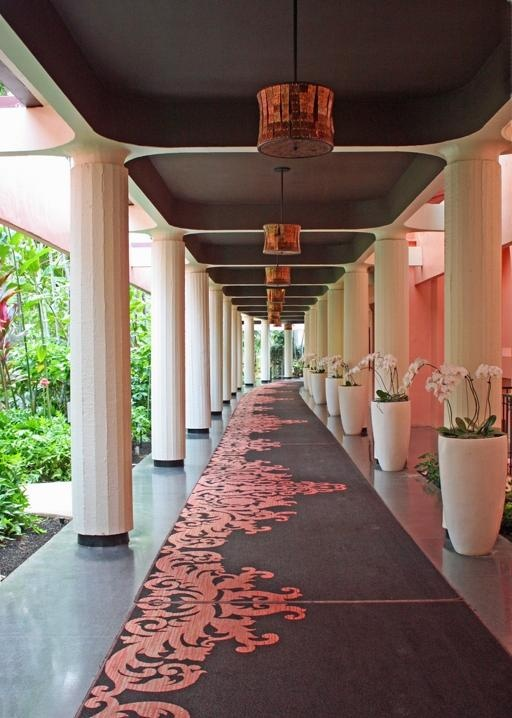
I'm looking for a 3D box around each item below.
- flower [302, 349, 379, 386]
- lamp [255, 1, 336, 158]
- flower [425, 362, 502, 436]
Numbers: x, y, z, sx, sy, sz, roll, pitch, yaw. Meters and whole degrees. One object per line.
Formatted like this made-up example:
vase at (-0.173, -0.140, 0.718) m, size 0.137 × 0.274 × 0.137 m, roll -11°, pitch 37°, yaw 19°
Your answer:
flower at (1.844, 0.156, 11.649) m, size 0.685 × 0.797 × 2.553 m, roll -4°, pitch 2°, yaw -6°
lamp at (0.190, -1.382, 2.603) m, size 0.364 × 0.746 × 0.436 m, roll -2°, pitch -3°, yaw 2°
flower at (1.500, 0.287, 3.757) m, size 0.470 × 0.483 × 0.873 m, roll -3°, pitch -3°, yaw 25°
